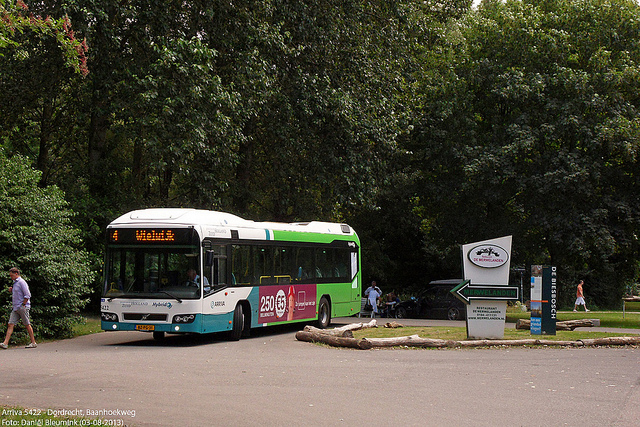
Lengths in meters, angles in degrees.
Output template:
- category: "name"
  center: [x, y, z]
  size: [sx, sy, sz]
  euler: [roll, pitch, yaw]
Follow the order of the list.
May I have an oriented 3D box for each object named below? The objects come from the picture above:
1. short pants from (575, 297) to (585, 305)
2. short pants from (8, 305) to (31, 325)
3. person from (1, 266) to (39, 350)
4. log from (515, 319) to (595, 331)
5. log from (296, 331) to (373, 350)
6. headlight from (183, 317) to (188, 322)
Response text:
- category: "short pants"
  center: [15.898, 5.208, 42.640]
  size: [0.636, 0.530, 0.306]
  euler: [-1, 13, -39]
- category: "short pants"
  center: [-9.103, 3.039, 21.124]
  size: [0.534, 0.545, 0.223]
  euler: [3, -14, -5]
- category: "person"
  center: [-8.965, 2.855, 21.108]
  size: [1.278, 2.554, 1.028]
  euler: [2, -2, -32]
- category: "log"
  center: [10.020, 4.678, 29.476]
  size: [4.109, 0.570, 1.656]
  euler: [4, -13, -29]
- category: "log"
  center: [0.470, 4.126, 22.878]
  size: [0.556, 0.706, 2.819]
  euler: [7, -15, -44]
- category: "headlight"
  center: [-4.166, 3.263, 21.616]
  size: [0.119, 0.131, 0.030]
  euler: [2, -6, -3]
